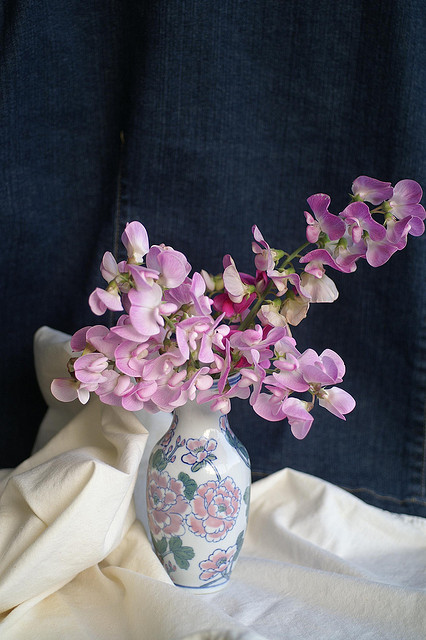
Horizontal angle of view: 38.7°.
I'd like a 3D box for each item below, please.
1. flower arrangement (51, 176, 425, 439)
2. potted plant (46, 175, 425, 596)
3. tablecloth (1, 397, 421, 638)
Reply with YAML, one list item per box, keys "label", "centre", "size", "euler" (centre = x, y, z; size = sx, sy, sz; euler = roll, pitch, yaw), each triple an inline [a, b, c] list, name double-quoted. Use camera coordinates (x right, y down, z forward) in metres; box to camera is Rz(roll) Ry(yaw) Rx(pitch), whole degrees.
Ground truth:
- label: "flower arrangement"
  centre: [0.032, -0.021, 0.666]
  size: [0.281, 0.266, 0.302]
  euler: [17, 25, 28]
- label: "potted plant"
  centre: [0.029, 0.090, 0.878]
  size: [0.426, 0.626, 0.547]
  euler: [12, 24, 19]
- label: "tablecloth"
  centre: [-0.022, 0.325, 0.767]
  size: [0.406, 0.103, 0.369]
  euler: [18, 18, -11]
